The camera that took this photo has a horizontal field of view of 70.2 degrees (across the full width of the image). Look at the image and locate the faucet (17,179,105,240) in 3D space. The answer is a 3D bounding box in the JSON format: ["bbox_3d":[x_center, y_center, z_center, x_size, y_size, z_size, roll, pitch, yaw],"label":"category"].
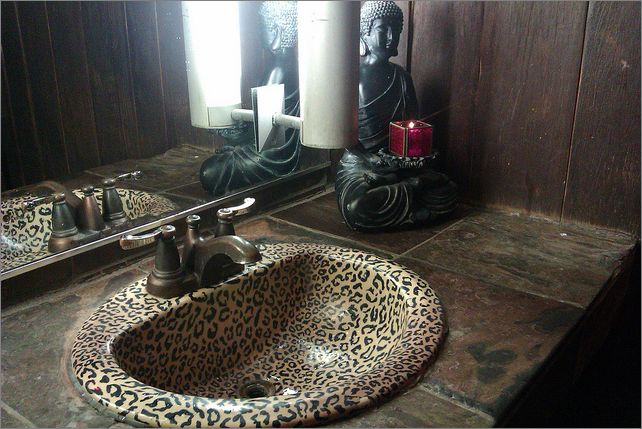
[{"bbox_3d":[-0.670,-0.028,1.171,0.130,0.095,0.135,20,31,38],"label":"faucet"}]

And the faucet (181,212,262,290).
[{"bbox_3d":[-0.239,0.107,1.171,0.205,0.167,0.166,28,37,34],"label":"faucet"}]
